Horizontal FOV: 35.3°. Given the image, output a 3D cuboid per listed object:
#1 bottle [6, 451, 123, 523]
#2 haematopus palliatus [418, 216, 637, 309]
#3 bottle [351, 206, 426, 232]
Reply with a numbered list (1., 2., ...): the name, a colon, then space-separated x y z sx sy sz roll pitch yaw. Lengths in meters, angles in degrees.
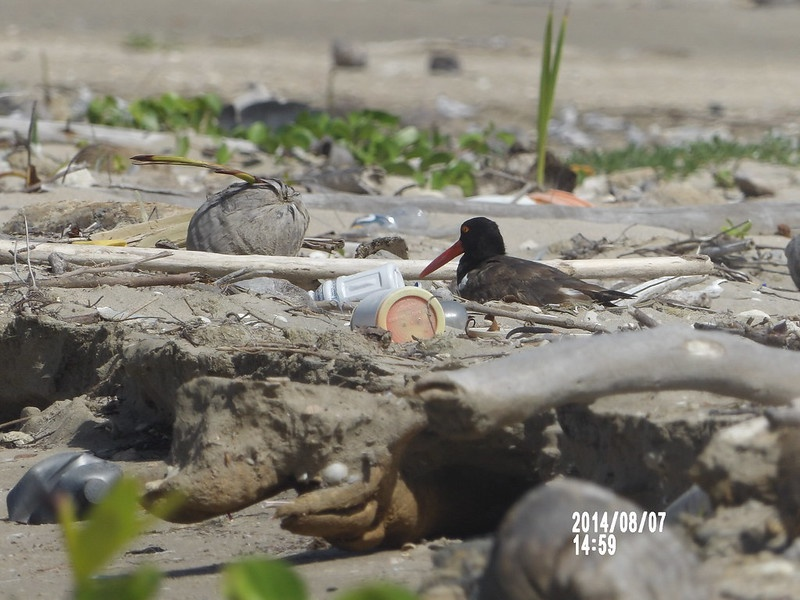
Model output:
1. bottle: -2.179 1.208 8.114 0.733 0.396 0.402 0 16 -9
2. haematopus palliatus: 1.016 -0.196 9.854 1.853 0.716 0.594 5 11 30
3. bottle: -0.089 -0.826 12.939 0.708 0.166 0.326 -2 -1 -17
